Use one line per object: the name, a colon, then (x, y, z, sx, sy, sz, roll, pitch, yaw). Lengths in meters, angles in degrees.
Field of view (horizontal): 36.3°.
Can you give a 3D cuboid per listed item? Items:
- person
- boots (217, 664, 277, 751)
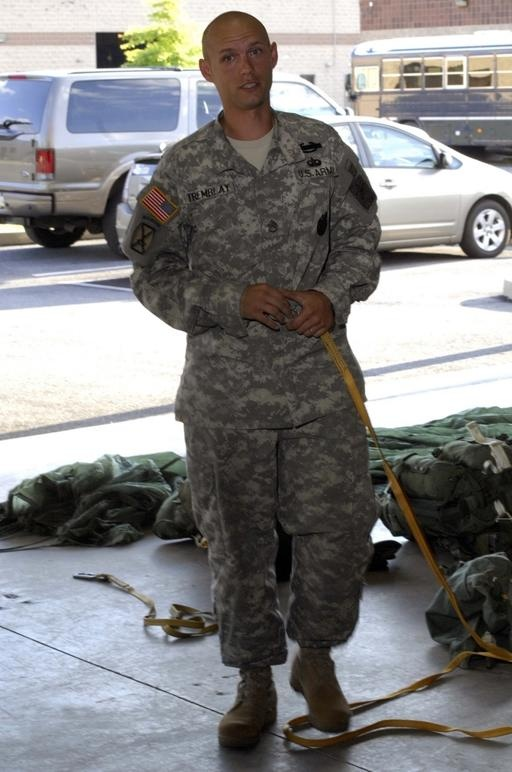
person: (-0.010, -0.012, 1.924, 0.524, 1.721, 0.444, 2, 7, 36)
boots: (-0.013, 0.776, 1.880, 0.082, 0.120, 0.216, -4, -6, 15)
